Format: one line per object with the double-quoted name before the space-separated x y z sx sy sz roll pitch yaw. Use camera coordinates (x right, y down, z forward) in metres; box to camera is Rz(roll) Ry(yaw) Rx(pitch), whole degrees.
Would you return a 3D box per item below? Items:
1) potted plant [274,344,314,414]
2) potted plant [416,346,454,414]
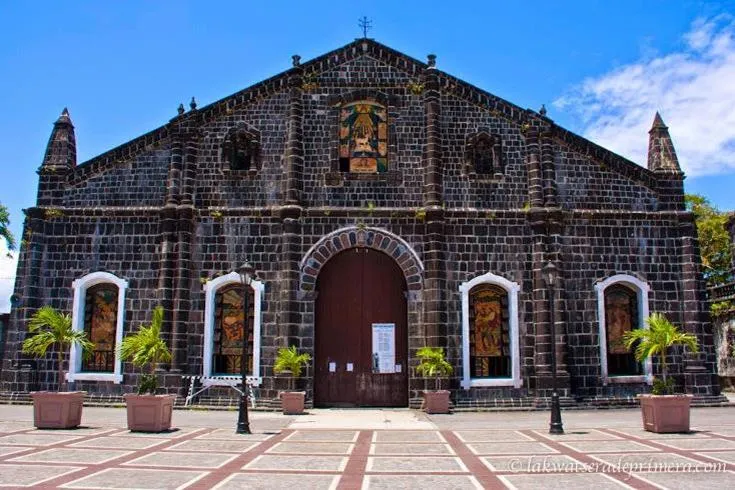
"potted plant" -3.476 6.100 28.649 1.485 2.880 1.349 0 -1 0
"potted plant" 3.076 6.158 28.741 1.557 2.876 1.191 0 -1 6
